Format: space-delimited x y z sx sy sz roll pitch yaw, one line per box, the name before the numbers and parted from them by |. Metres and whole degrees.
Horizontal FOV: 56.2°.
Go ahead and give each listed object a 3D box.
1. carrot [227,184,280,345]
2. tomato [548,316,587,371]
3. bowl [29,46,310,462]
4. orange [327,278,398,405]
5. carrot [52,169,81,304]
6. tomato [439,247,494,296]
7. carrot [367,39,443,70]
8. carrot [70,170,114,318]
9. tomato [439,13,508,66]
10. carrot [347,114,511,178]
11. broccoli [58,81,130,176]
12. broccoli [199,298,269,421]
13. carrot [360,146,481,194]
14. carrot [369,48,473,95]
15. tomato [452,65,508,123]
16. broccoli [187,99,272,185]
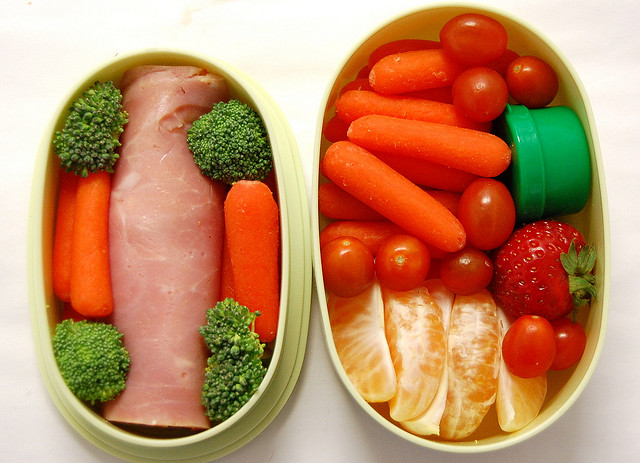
carrot | -0.200 0.092 1.800 0.125 0.480 0.135 -2 0 4
tomato | 0.716 0.322 1.714 0.100 0.142 0.069 -7 16 -35
bowl | -0.457 0.035 1.750 0.800 1.271 0.358 -1 0 -3
orange | 0.113 0.318 1.749 0.159 0.066 0.452 -22 41 8
carrot | -0.701 0.092 1.750 0.057 0.058 0.308 2 66 -25
tomato | 0.430 0.112 1.802 0.148 0.127 0.174 1 25 10
carrot | 0.277 -0.548 1.840 0.235 0.089 0.121 -7 16 -15
carrot | -0.657 0.036 1.761 0.111 0.438 0.108 5 -6 -20
tomato | 0.446 -0.557 1.737 0.192 0.134 0.119 8 45 10
carrot | 0.327 -0.251 1.719 0.530 0.150 0.162 11 49 7
broccoli | -0.655 -0.293 1.732 0.171 0.284 0.129 5 -3 -8
broccoli | -0.253 0.360 1.706 0.190 0.220 0.294 -7 45 -5
carrot | 0.291 -0.197 1.821 0.362 0.127 0.191 -17 25 -29
carrot | 0.298 -0.490 1.794 0.287 0.136 0.110 -6 19 -5
tomato | 0.456 -0.390 1.711 0.151 0.111 0.092 10 46 12
broccoli | -0.262 -0.253 1.753 0.215 0.254 0.088 4 16 6
